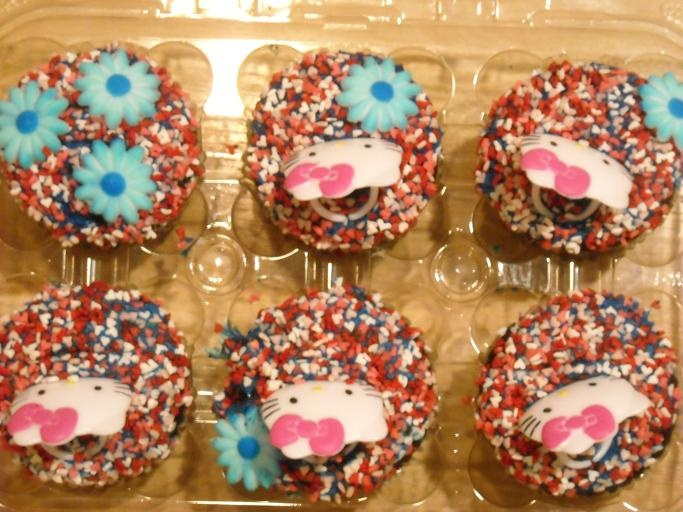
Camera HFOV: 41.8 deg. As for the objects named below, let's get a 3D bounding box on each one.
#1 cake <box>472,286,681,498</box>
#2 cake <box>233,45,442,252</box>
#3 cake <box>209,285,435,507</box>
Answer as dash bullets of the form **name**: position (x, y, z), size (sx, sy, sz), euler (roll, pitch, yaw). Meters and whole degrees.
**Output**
- **cake**: position (0.710, 0.436, 2.688), size (0.617, 0.506, 0.487), euler (-9, 39, -13)
- **cake**: position (-0.010, -0.265, 2.736), size (0.608, 0.550, 0.530), euler (5, 38, 5)
- **cake**: position (-0.047, 0.456, 2.672), size (0.672, 0.545, 0.540), euler (-3, 38, -6)
